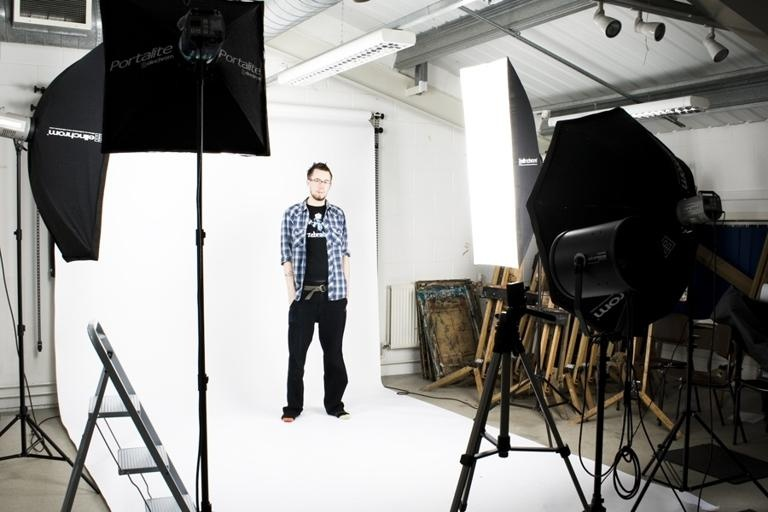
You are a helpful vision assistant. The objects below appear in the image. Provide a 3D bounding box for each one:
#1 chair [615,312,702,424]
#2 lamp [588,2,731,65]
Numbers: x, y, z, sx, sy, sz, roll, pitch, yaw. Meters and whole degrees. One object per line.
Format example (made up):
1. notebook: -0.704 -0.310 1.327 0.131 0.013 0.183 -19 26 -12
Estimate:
1. chair: 2.775 1.243 7.823 0.824 1.113 0.737 8 0 -28
2. lamp: 2.678 -2.205 6.737 1.446 0.507 0.433 -2 3 -18
